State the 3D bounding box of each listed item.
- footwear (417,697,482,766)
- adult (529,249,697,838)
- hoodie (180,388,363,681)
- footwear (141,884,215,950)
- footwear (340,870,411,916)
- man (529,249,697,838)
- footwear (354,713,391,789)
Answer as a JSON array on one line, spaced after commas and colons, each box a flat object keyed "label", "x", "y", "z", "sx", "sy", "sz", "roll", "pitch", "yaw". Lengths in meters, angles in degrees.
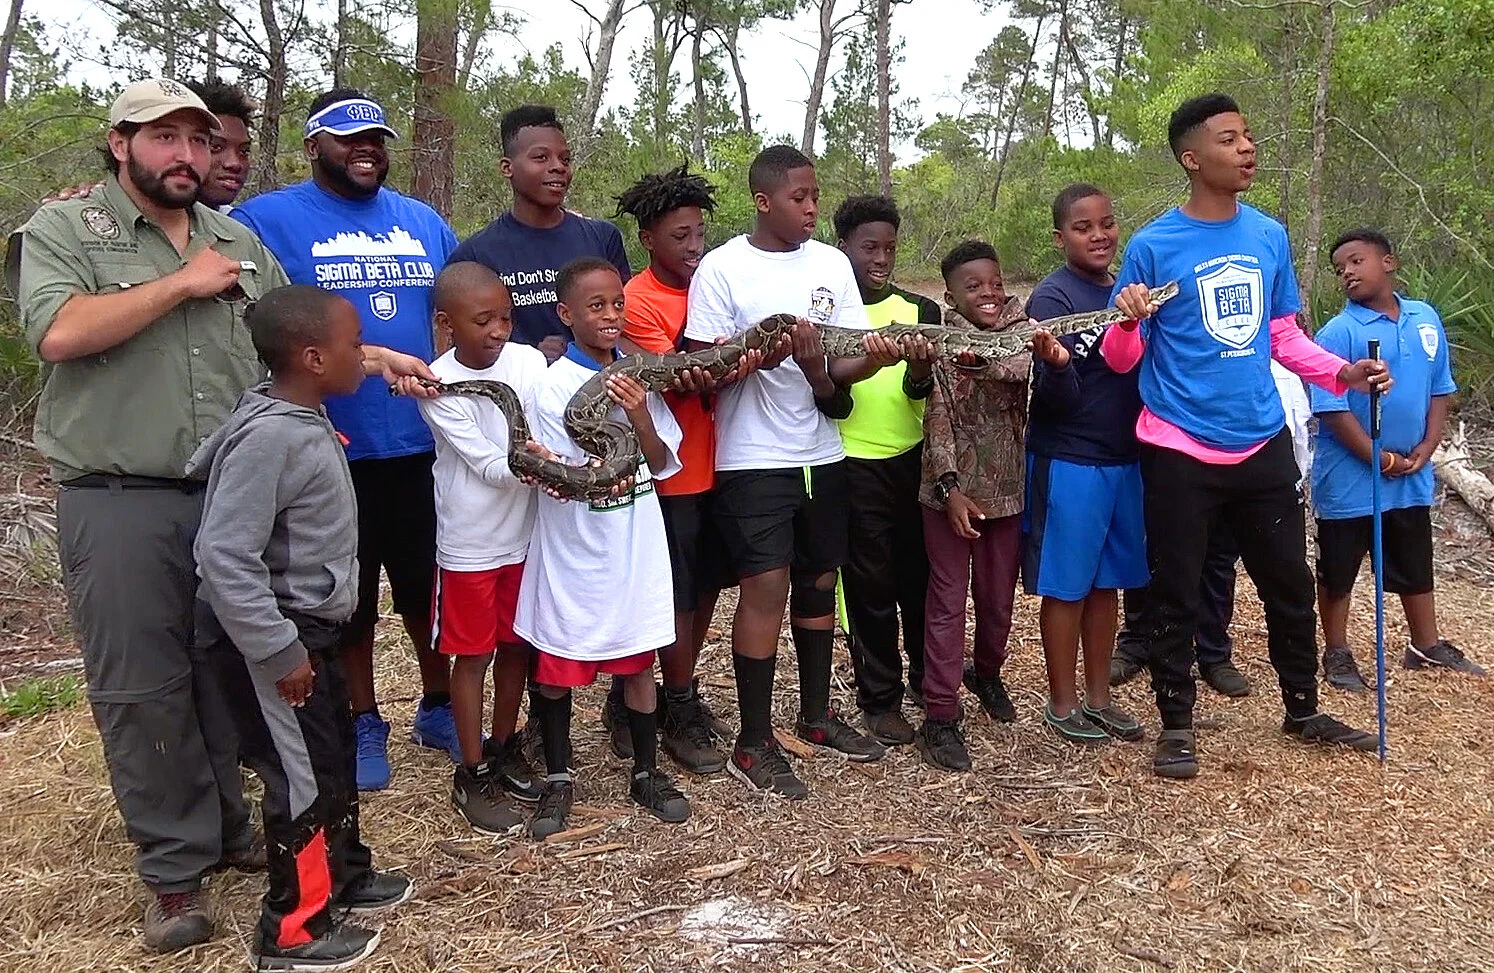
[{"label": "footwear", "x": -2.342, "y": 1.890, "z": 8.960, "sx": 0.727, "sy": 0.302, "sz": 0.263, "roll": 17, "pitch": 5, "yaw": 25}, {"label": "adult", "x": -1.029, "y": 0.415, "z": 8.133, "sx": 1.200, "sy": 3.974, "sz": 0.827, "roll": -2, "pitch": 10, "yaw": -9}, {"label": "hoodie", "x": -3.017, "y": 0.320, "z": 7.222, "sx": 0.949, "sy": 1.380, "sz": 1.734, "roll": 1, "pitch": 11, "yaw": -1}, {"label": "footwear", "x": -3.788, "y": 2.803, "z": 7.653, "sx": 0.387, "sy": 0.396, "sz": 0.935, "roll": 9, "pitch": -14, "yaw": -31}, {"label": "footwear", "x": -2.424, "y": 2.644, "z": 7.573, "sx": 0.437, "sy": 0.169, "sz": 0.181, "roll": -7, "pitch": 22, "yaw": -12}, {"label": "man", "x": -1.030, "y": 0.415, "z": 8.133, "sx": 1.201, "sy": 3.974, "sz": 0.827, "roll": -2, "pitch": 10, "yaw": -9}, {"label": "footwear", "x": -2.784, "y": 1.942, "z": 8.656, "sx": 0.261, "sy": 0.297, "sz": 0.708, "roll": 1, "pitch": 23, "yaw": -19}]
